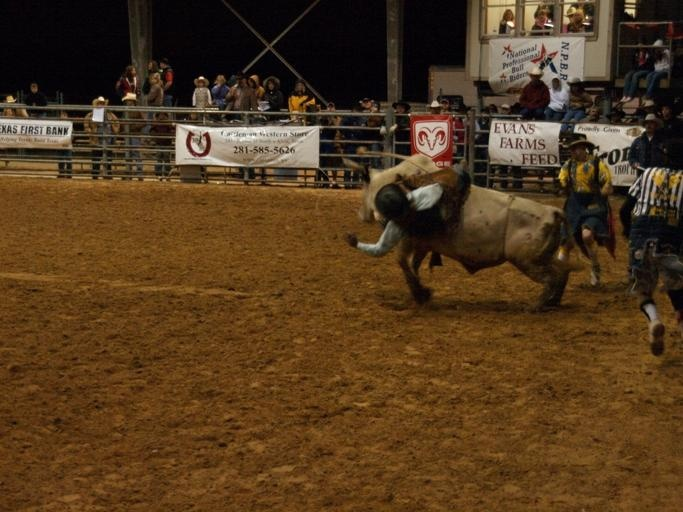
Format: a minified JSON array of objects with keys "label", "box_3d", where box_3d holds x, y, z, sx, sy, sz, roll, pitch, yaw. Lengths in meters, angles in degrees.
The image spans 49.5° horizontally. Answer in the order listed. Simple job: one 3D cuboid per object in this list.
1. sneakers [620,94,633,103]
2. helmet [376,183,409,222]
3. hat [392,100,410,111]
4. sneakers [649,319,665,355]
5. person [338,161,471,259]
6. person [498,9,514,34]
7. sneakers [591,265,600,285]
[{"label":"sneakers","box_3d":[6.602,-3.631,17.153,0.177,0.105,0.395,0,8,14]},{"label":"helmet","box_3d":[0.555,-0.593,8.294,0.425,0.360,0.369,-25,-1,16]},{"label":"hat","box_3d":[1.404,-3.489,17.200,0.347,0.099,0.324,2,-24,4]},{"label":"sneakers","box_3d":[3.004,0.778,7.093,0.148,0.339,0.192,3,8,16]},{"label":"person","box_3d":[0.861,-0.510,8.443,1.344,0.995,0.525,-5,12,-31]},{"label":"person","box_3d":[4.256,-6.014,19.008,0.429,0.620,0.211,3,11,14]},{"label":"sneakers","box_3d":[3.448,0.272,10.046,0.132,0.299,0.141,0,-21,15]}]
